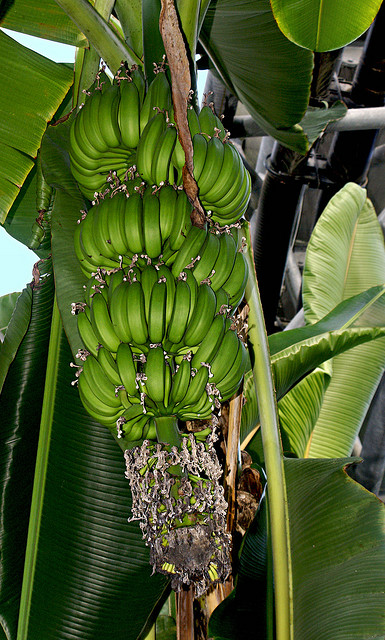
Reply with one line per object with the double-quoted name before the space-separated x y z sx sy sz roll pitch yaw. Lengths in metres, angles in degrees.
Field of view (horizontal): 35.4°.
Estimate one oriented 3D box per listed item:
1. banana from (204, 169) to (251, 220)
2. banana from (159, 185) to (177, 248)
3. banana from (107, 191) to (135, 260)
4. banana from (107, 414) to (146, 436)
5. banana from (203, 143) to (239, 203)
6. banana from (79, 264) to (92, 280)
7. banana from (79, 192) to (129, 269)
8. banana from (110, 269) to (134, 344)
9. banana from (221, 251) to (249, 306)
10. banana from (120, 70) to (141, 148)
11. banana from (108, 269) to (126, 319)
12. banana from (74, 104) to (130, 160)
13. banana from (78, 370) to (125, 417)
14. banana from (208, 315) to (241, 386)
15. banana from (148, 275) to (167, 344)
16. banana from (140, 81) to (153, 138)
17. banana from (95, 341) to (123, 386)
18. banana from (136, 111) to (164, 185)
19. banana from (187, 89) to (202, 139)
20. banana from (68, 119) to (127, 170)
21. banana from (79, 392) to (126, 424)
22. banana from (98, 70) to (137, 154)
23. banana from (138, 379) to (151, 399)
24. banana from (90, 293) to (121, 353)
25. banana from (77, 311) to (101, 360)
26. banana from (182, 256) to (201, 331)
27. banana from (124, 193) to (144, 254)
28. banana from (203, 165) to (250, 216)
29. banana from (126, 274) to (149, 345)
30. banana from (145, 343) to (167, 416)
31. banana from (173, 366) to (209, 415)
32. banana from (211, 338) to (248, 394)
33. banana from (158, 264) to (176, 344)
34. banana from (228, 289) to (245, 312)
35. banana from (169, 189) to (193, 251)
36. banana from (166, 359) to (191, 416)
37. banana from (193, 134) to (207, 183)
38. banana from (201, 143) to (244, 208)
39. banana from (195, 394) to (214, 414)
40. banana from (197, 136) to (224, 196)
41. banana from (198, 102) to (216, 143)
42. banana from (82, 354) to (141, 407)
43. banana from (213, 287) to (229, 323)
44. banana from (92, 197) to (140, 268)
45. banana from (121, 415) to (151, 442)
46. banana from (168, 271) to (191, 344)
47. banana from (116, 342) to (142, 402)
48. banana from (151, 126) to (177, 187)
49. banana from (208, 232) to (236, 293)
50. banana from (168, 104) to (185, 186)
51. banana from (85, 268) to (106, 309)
"banana" 0.108 -0.350 1.614 0.130 0.129 0.042 -6 24 0
"banana" -0.061 -0.243 1.402 0.039 0.128 0.037 -14 -19 38
"banana" -0.167 -0.228 1.415 0.030 0.128 0.075 -8 -12 22
"banana" -0.146 0.235 1.364 0.016 0.074 0.019 27 35 -30
"banana" 0.064 -0.351 1.474 0.095 0.129 0.037 0 0 24
"banana" -0.284 -0.126 1.589 0.019 0.015 0.070 -7 22 -15
"banana" -0.247 -0.203 1.502 0.043 0.120 0.155 -10 59 -48
"banana" -0.161 -0.026 1.335 0.040 0.145 0.053 -7 0 36
"banana" 0.109 -0.101 1.477 0.031 0.118 0.074 13 -2 40
"banana" -0.156 -0.510 1.512 0.054 0.132 0.127 4 34 -9
"banana" -0.177 -0.057 1.423 0.038 0.115 0.031 25 -22 -39
"banana" -0.252 -0.488 1.575 0.126 0.140 0.049 -9 18 7
"banana" -0.196 0.166 1.378 0.082 0.099 0.034 32 57 -4
"banana" 0.072 0.085 1.425 0.037 0.188 0.032 20 2 -32
"banana" -0.076 -0.020 1.328 0.033 0.136 0.036 1 -6 7
"banana" -0.103 -0.517 1.487 0.027 0.138 0.023 -8 -21 44
"banana" -0.202 0.098 1.432 0.048 0.031 0.132 -3 65 -49
"banana" -0.107 -0.404 1.449 0.062 0.174 0.046 5 8 -43
"banana" 0.002 -0.488 1.481 0.032 0.148 0.038 2 -4 -14
"banana" -0.250 -0.436 1.564 0.134 0.130 0.052 -1 26 4
"banana" -0.215 0.196 1.437 0.065 0.079 0.026 -19 12 18
"banana" -0.201 -0.500 1.530 0.090 0.226 0.062 1 -10 -39
"banana" -0.108 0.149 1.318 0.012 0.054 0.021 -21 5 34
"banana" -0.203 0.012 1.381 0.054 0.159 0.046 -1 -17 -37
"banana" -0.254 0.031 1.444 0.035 0.137 0.055 -24 -18 39
"banana" -0.014 -0.061 1.396 0.034 0.166 0.045 14 -26 -42
"banana" -0.138 -0.223 1.423 0.051 0.114 0.101 2 34 -12
"banana" 0.093 -0.326 1.539 0.041 0.113 0.107 20 55 28
"banana" -0.127 -0.019 1.327 0.036 0.139 0.037 3 -18 -32
"banana" -0.078 0.127 1.309 0.034 0.145 0.049 -10 -8 29
"banana" -0.004 0.154 1.359 0.026 0.106 0.038 24 4 -24
"banana" 0.090 0.109 1.432 0.030 0.110 0.086 20 41 31
"banana" -0.056 -0.036 1.358 0.046 0.176 0.035 0 -20 1
"banana" 0.114 -0.039 1.540 0.018 0.090 0.014 -2 30 -33
"banana" -0.029 -0.233 1.423 0.040 0.135 0.049 5 -2 -16
"banana" -0.026 0.145 1.371 0.029 0.138 0.046 10 1 -29
"banana" 0.016 -0.382 1.443 0.033 0.111 0.033 1 3 -30
"banana" 0.072 -0.374 1.547 0.117 0.150 0.044 -8 27 -40
"banana" 0.029 0.195 1.403 0.032 0.042 0.011 7 26 -49
"banana" 0.046 -0.368 1.451 0.049 0.160 0.051 12 -1 -21
"banana" 0.041 -0.511 1.547 0.045 0.042 0.140 -10 -17 3
"banana" -0.179 0.140 1.371 0.137 0.050 0.031 50 12 17
"banana" 0.069 -0.043 1.432 0.039 0.064 0.015 0 -4 -37
"banana" -0.216 -0.207 1.437 0.046 0.126 0.156 -16 68 -46
"banana" -0.126 0.250 1.363 0.042 0.066 0.017 10 16 -35
"banana" -0.026 -0.025 1.350 0.034 0.166 0.040 8 -10 -21
"banana" -0.146 0.107 1.336 0.041 0.160 0.033 -23 -23 30
"banana" -0.069 -0.386 1.419 0.046 0.159 0.056 14 5 42
"banana" 0.077 -0.139 1.450 0.041 0.179 0.060 19 -18 -26
"banana" -0.026 -0.420 1.441 0.041 0.173 0.063 -2 14 8
"banana" -0.234 -0.075 1.458 0.035 0.098 0.028 17 -21 25
